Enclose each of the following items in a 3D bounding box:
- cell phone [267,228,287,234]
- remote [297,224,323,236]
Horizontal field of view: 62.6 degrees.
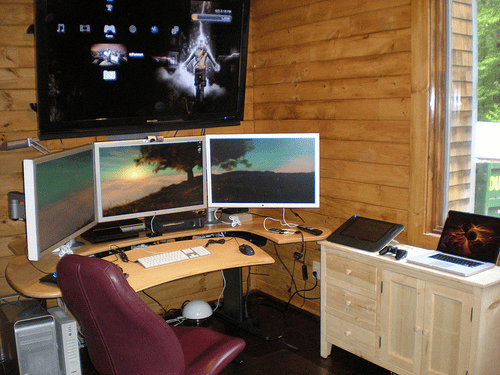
[{"bbox_3d":[0.200,0.325,3.069,0.075,0.013,0.129,-6,9,-40],"label":"cell phone"},{"bbox_3d":[0.458,0.304,3.086,0.070,0.026,0.148,-2,15,-38],"label":"remote"}]
